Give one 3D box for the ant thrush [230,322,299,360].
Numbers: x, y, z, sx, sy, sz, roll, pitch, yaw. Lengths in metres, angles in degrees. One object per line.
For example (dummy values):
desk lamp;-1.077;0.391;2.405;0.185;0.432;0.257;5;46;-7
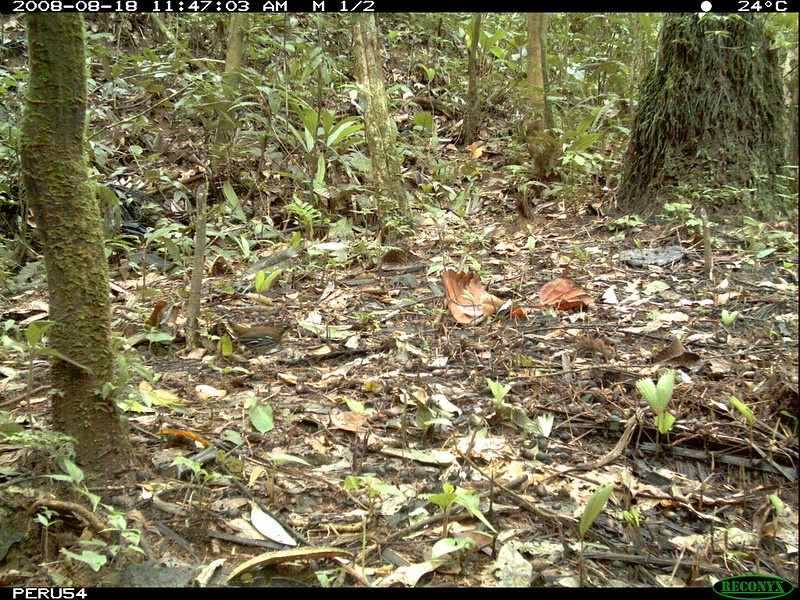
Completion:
ant thrush;-0.794;0.214;3.838;0.260;0.130;0.261;-4;19;-25
